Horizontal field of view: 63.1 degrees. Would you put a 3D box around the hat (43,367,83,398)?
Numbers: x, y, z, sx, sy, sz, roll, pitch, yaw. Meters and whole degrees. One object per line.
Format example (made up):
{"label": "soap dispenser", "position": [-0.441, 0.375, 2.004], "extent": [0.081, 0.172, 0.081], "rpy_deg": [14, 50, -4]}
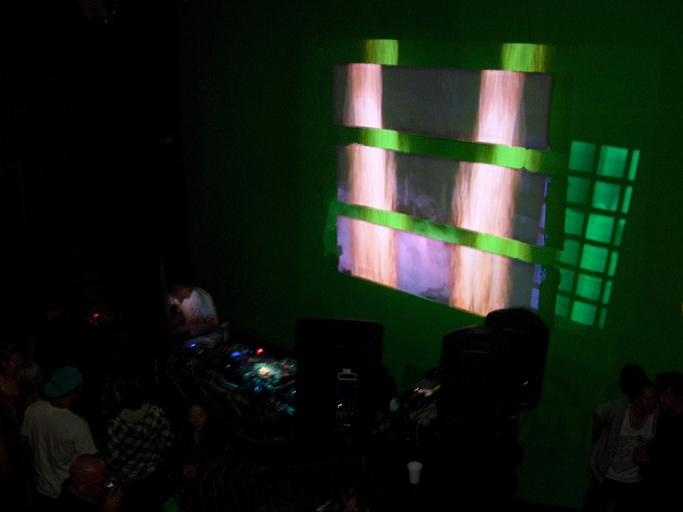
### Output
{"label": "hat", "position": [-1.747, 0.803, 3.485], "extent": [0.149, 0.174, 0.196], "rpy_deg": [10, 11, 35]}

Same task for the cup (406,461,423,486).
{"label": "cup", "position": [0.419, 1.242, 3.183], "extent": [0.106, 0.116, 0.096], "rpy_deg": [0, 0, -1]}
